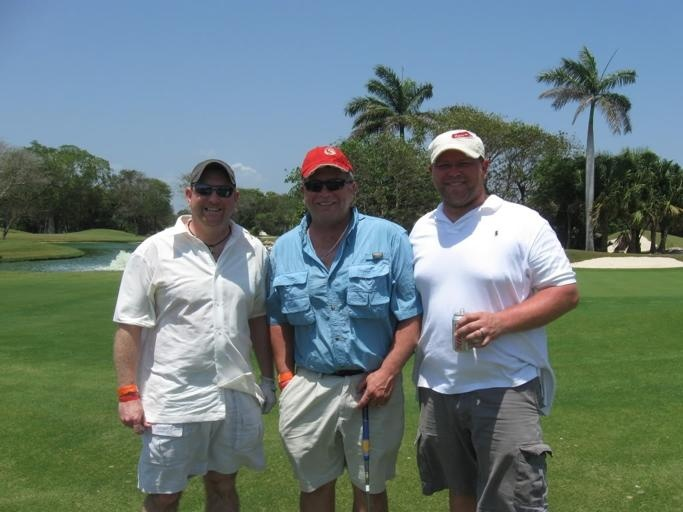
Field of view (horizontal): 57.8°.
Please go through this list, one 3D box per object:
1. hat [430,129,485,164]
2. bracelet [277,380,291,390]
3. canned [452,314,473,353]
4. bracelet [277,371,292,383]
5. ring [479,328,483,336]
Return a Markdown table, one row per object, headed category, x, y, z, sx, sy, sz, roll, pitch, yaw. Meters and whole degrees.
| category | x | y | z | sx | sy | sz | roll | pitch | yaw |
| --- | --- | --- | --- | --- | --- | --- | --- | --- | --- |
| hat | 0.892 | -0.836 | 4.805 | 0.407 | 0.277 | 0.562 | -6 | -3 | 15 |
| bracelet | -0.457 | 1.004 | 4.866 | 0.090 | 0.090 | 0.065 | -2 | -4 | -28 |
| canned | 0.858 | 0.542 | 4.412 | 0.142 | 0.263 | 0.104 | 2 | 1 | 9 |
| bracelet | -0.447 | 0.947 | 4.843 | 0.094 | 0.054 | 0.094 | -3 | -9 | 9 |
| ring | 0.976 | 0.535 | 4.334 | 0.035 | 0.036 | 0.012 | 6 | 7 | 25 |
